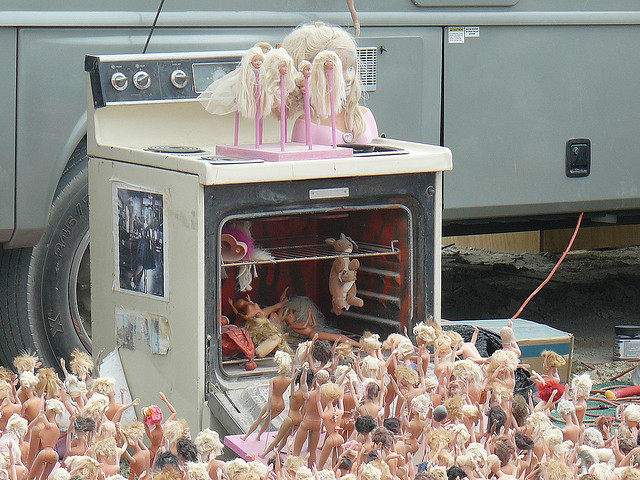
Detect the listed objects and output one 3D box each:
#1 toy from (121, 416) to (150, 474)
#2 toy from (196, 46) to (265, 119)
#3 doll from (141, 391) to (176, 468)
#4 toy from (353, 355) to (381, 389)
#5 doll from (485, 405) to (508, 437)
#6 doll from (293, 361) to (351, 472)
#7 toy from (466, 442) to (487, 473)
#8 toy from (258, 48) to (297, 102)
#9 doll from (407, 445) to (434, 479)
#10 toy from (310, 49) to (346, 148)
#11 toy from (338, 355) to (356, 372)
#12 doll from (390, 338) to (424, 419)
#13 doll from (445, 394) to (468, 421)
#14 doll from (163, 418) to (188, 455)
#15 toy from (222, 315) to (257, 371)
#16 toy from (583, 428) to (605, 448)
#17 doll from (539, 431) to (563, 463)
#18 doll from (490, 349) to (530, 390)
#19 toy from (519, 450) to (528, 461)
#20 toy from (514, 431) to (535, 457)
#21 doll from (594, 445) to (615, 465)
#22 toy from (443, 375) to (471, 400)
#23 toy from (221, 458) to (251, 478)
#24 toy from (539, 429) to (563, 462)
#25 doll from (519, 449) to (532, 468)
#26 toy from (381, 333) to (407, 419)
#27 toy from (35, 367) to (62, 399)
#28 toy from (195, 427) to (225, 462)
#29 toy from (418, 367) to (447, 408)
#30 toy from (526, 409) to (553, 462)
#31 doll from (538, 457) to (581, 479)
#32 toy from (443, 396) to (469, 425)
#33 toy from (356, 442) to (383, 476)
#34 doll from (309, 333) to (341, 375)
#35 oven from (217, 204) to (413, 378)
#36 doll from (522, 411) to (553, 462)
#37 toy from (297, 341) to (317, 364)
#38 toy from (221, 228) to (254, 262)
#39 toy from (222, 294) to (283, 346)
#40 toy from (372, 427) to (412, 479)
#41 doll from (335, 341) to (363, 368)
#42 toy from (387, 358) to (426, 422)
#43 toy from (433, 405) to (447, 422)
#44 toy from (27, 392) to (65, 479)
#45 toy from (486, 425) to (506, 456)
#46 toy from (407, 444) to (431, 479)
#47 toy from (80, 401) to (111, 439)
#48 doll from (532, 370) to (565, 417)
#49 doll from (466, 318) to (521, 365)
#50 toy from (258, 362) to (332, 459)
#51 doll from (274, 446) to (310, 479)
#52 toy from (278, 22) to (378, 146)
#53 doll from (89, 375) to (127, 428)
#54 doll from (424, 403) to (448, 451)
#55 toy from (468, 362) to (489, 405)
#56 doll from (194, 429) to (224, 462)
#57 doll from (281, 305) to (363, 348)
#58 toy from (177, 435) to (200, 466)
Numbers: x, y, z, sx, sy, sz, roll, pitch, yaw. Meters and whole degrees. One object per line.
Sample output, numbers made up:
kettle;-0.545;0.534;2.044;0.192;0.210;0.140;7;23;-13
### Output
toy;-0.622;0.698;3.093;0.093;0.179;0.231;0;7;-12
toy;-0.390;-0.766;4.507;0.349;0.404;0.290;10;-9;3
doll;-0.545;0.704;3.203;0.113;0.405;0.089;-13;40;-13
toy;0.157;0.470;3.284;0.079;0.146;0.095;-2;6;-28
doll;0.614;0.628;3.171;0.064;0.096;0.045;37;16;-28
doll;-0.011;0.676;3.365;0.187;0.544;0.090;-5;42;-32
toy;0.522;0.719;3.004;0.077;0.087;0.067;-2;-3;17
toy;-0.152;-0.787;4.332;0.151;0.220;0.129;-5;-5;27
doll;0.352;0.751;3.111;0.069;0.106;0.102;5;-15;-15
toy;0.030;-0.681;4.413;0.146;0.453;0.218;1;6;-1
toy;0.102;0.458;3.438;0.053;0.047;0.058;14;-4;-1
doll;0.350;0.504;3.400;0.082;0.293;0.045;-12;2;8
doll;0.460;0.579;3.139;0.060;0.072;0.038;2;6;6
doll;-0.487;0.669;3.077;0.083;0.119;0.080;0;-10;-11
toy;-0.394;0.509;4.486;0.155;0.244;0.094;-3;-23;-48
toy;0.933;0.677;3.119;0.066;0.078;0.052;-7;-7;44
doll;0.776;0.690;3.063;0.063;0.103;0.045;0;-7;11
doll;0.682;0.467;3.388;0.103;0.147;0.263;2;7;13
toy;0.698;0.735;3.119;0.021;0.035;0.011;-2;13;-20
toy;0.689;0.680;3.099;0.071;0.065;0.075;20;-4;24
doll;0.965;0.723;3.086;0.056;0.072;0.056;4;-8;-28
toy;0.495;0.535;3.302;0.073;0.155;0.045;2;-10;-9
toy;-0.259;0.718;2.881;0.057;0.034;0.059;-1;-33;-10
toy;0.770;0.689;3.073;0.073;0.105;0.045;4;5;-38
doll;0.695;0.749;3.107;0.044;0.068;0.016;-7;17;-42
toy;0.269;0.495;3.426;0.052;0.267;0.101;7;-22;18
toy;-0.977;0.508;3.316;0.076;0.098;0.097;33;7;21
toy;-0.361;0.673;3.025;0.081;0.104;0.094;-10;-8;-7
toy;0.421;0.535;3.332;0.050;0.127;0.108;7;8;-39
toy;0.749;0.675;3.127;0.071;0.208;0.133;-11;-9;43
doll;0.784;0.736;2.963;0.086;0.051;0.094;-1;0;40
toy;0.465;0.590;3.136;0.073;0.095;0.051;15;-18;-36
toy;0.163;0.725;2.998;0.061;0.089;0.052;-1;-10;22
doll;0.015;0.424;3.437;0.088;0.165;0.272;2;7;5
oven;-0.173;0.151;4.730;1.018;1.125;0.714;0;-1;-34
doll;0.742;0.679;3.125;0.064;0.207;0.127;-13;-10;39
toy;-0.050;0.414;3.405;0.069;0.112;0.092;1;-9;1
toy;-0.403;0.028;4.451;0.150;0.155;0.162;0;6;-7
toy;-0.352;0.421;4.756;0.171;0.122;0.301;-13;37;-41
toy;0.232;0.711;3.021;0.118;0.137;0.042;-18;17;8
doll;0.104;0.442;3.491;0.069;0.105;0.047;8;-15;-34
toy;0.314;0.601;3.300;0.130;0.342;0.095;-1;16;4
toy;0.407;0.589;3.099;0.039;0.051;0.056;0;35;11
toy;-0.933;0.661;3.098;0.076;0.298;0.113;-1;-38;19
toy;0.603;0.683;3.142;0.056;0.093;0.034;-2;15;-17
toy;0.336;0.751;3.112;0.069;0.102;0.104;2;-17;-2
toy;-0.748;0.605;3.051;0.102;0.149;0.047;-1;-25;-6
doll;0.786;0.537;3.239;0.105;0.172;0.097;-11;8;-11
doll;0.678;0.394;3.528;0.057;0.184;0.164;17;21;28
toy;-0.100;0.636;3.404;0.138;0.468;0.077;6;28;-31
doll;-0.101;0.702;2.967;0.078;0.077;0.129;0;-9;9
toy;0.047;-0.777;4.777;0.460;0.757;0.387;-10;2;-37
doll;-0.718;0.581;3.192;0.088;0.209;0.068;-27;-35;21
doll;0.395;0.640;3.110;0.062;0.049;0.165;-9;-37;-8
toy;0.557;0.518;3.296;0.058;0.057;0.179;12;45;-1
doll;-0.366;0.677;3.027;0.087;0.110;0.098;0;-9;-18
doll;0.020;0.457;4.921;0.455;0.228;0.136;7;-2;16
toy;-0.431;0.686;2.959;0.062;0.093;0.078;-9;-28;29
